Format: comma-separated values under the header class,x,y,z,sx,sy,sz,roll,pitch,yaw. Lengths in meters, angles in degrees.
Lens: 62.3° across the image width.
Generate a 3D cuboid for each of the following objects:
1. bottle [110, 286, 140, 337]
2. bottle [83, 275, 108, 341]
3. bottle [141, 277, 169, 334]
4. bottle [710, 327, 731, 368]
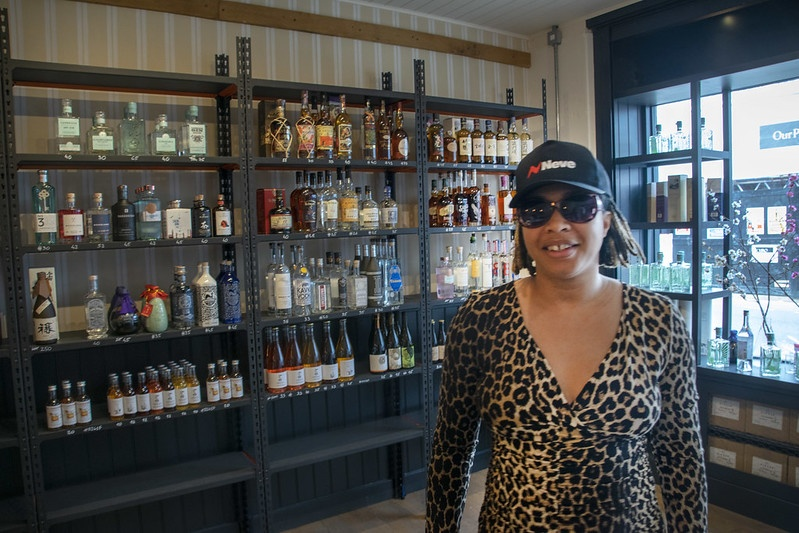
class,x,y,z,sx,sy,sz,roll,pitch,yaw
bottle,-1.583,0.264,3.811,0.180,0.273,0.166,-4,5,0
bottle,-1.750,0.232,3.792,0.124,0.280,0.377,-8,5,-25
bottle,-1.413,0.252,3.813,0.153,0.198,0.181,-8,5,-29
bottle,2.184,0.568,4.426,0.143,0.291,0.141,2,-11,0
